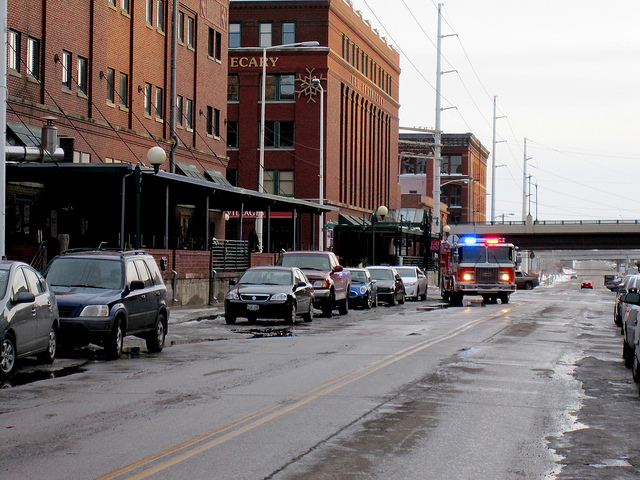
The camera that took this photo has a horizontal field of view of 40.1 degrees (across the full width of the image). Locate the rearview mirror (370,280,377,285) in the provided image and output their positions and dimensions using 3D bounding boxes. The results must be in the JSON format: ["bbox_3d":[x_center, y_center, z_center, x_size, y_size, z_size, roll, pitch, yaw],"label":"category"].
[{"bbox_3d":[2.449,1.950,40.403,0.176,0.113,0.222,12,-28,-35],"label":"rearview mirror"}]

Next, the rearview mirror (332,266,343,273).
[{"bbox_3d":[0.647,1.134,33.168,0.368,0.252,0.515,0,-4,-1],"label":"rearview mirror"}]

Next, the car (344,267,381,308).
[{"bbox_3d":[1.783,2.163,38.307,1.464,1.435,3.140,0,-4,10],"label":"car"}]

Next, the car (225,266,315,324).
[{"bbox_3d":[-1.629,1.713,27.420,2.622,1.743,2.061,0,-4,-9],"label":"car"}]

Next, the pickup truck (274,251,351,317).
[{"bbox_3d":[-0.351,1.757,34.535,2.631,2.596,5.758,-1,-3,8],"label":"pickup truck"}]

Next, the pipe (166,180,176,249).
[{"bbox_3d":[-6.042,-0.974,35.395,0.293,2.685,0.934,0,-4,-9],"label":"pipe"}]

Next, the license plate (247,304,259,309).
[{"bbox_3d":[-2.017,2.027,26.463,0.371,0.136,0.099,-3,-5,31],"label":"license plate"}]

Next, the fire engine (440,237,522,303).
[{"bbox_3d":[7.936,1.497,45.352,3.125,3.243,6.774,1,-2,-1],"label":"fire engine"}]

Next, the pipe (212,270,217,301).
[{"bbox_3d":[-4.766,2.057,39.584,0.136,1.306,0.635,0,-4,-7],"label":"pipe"}]

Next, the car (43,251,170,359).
[{"bbox_3d":[-4.384,1.256,18.463,1.466,1.344,2.610,-1,-7,12],"label":"car"}]

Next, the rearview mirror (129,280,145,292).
[{"bbox_3d":[-3.781,0.955,18.097,0.234,0.203,0.175,5,-6,-22],"label":"rearview mirror"}]

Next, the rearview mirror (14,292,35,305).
[{"bbox_3d":[-5.049,1.006,15.045,0.287,0.195,0.295,0,-4,-14],"label":"rearview mirror"}]
